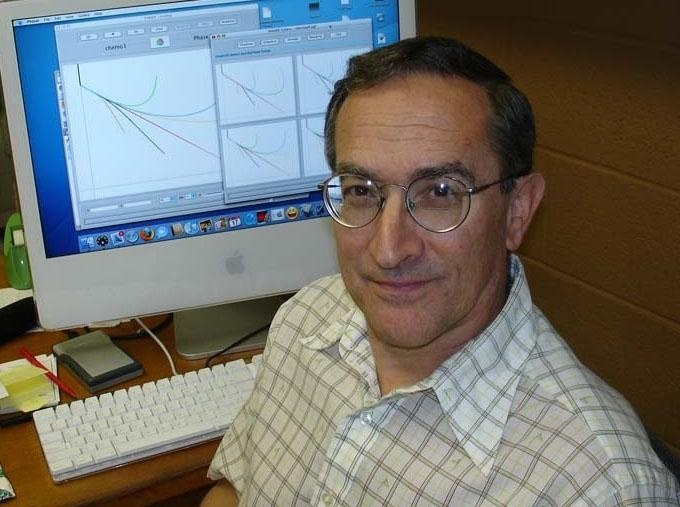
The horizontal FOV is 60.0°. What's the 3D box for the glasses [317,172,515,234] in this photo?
[{"bbox_3d":[0.115,-0.091,0.942,0.316,0.098,0.114,4,26,16],"label":"glasses"}]
